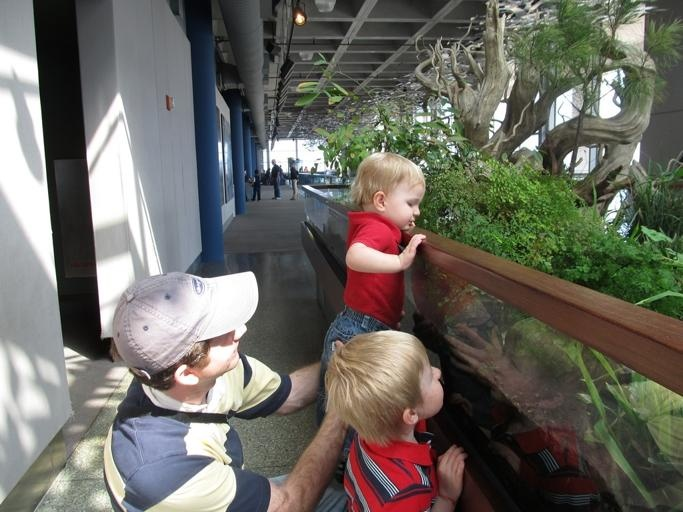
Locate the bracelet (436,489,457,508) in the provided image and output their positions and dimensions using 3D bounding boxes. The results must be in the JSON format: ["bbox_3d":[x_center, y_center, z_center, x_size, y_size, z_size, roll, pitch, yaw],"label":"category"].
[{"bbox_3d":[0.295,0.682,1.169,0.046,0.043,0.045,24,-21,2],"label":"bracelet"}]

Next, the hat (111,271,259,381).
[{"bbox_3d":[-0.366,0.169,1.077,0.333,0.138,0.232,-25,49,-7],"label":"hat"}]

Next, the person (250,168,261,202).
[{"bbox_3d":[-4.523,-3.702,21.863,0.457,1.494,2.640,-3,12,-12],"label":"person"}]

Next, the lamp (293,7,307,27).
[{"bbox_3d":[-0.627,-3.609,6.266,0.145,0.272,0.350,2,12,14],"label":"lamp"}]
